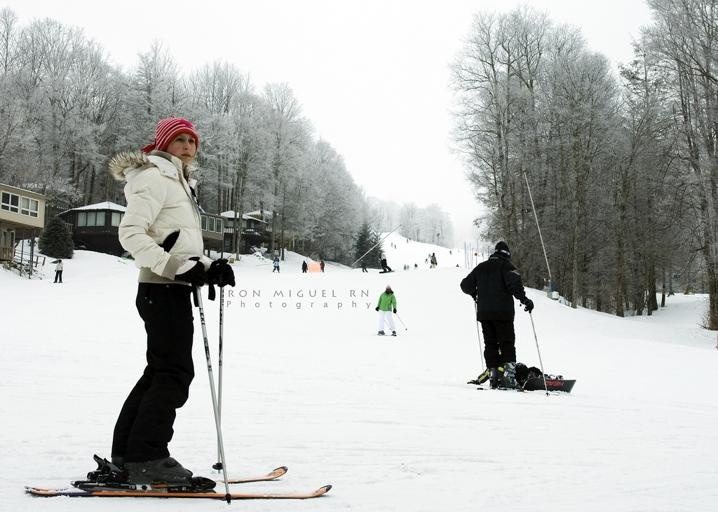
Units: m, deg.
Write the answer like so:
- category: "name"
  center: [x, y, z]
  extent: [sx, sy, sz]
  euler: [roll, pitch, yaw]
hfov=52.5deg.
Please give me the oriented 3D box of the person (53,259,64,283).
- category: "person"
  center: [-13.717, 0.714, 33.048]
  extent: [0.338, 1.036, 1.420]
  euler: [0, 5, -23]

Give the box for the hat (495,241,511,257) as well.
- category: "hat"
  center: [2.711, -0.115, 13.871]
  extent: [0.219, 0.256, 0.310]
  euler: [2, -5, -24]

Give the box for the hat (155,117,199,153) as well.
- category: "hat"
  center: [-2.474, -1.655, 9.975]
  extent: [0.510, 0.483, 0.423]
  euler: [-1, 7, 3]

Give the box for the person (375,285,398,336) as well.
- category: "person"
  center: [0.834, 1.608, 21.912]
  extent: [0.614, 1.549, 2.156]
  euler: [2, 5, 3]

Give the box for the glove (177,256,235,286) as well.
- category: "glove"
  center: [-1.980, 0.247, 9.497]
  extent: [0.443, 0.220, 0.478]
  euler: [-4, 2, 7]

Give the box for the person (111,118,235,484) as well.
- category: "person"
  center: [-2.560, 0.544, 9.515]
  extent: [1.324, 4.721, 1.071]
  euler: [0, 5, -21]
